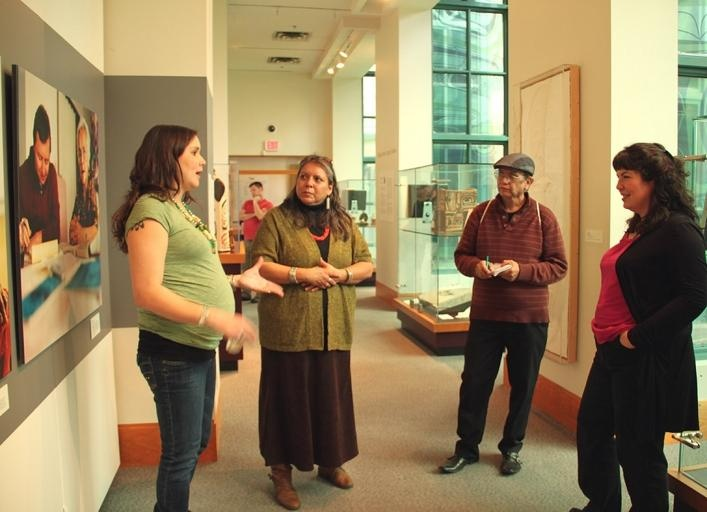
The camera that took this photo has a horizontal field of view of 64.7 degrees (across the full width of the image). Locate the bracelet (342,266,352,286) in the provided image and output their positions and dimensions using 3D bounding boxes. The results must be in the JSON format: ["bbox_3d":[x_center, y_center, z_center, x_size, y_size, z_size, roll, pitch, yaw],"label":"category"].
[{"bbox_3d":[-0.037,0.130,3.323,0.028,0.075,0.063,2,-33,-6],"label":"bracelet"}]

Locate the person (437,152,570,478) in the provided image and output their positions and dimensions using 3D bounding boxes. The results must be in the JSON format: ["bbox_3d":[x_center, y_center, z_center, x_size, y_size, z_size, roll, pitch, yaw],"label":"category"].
[{"bbox_3d":[1.004,0.380,3.671,0.750,2.074,0.457,1,8,14],"label":"person"}]

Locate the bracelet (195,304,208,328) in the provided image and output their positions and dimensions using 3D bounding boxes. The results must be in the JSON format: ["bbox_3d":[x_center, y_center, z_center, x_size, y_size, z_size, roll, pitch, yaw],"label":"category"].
[{"bbox_3d":[-0.668,0.268,2.500,0.025,0.068,0.068,11,-16,-9],"label":"bracelet"}]

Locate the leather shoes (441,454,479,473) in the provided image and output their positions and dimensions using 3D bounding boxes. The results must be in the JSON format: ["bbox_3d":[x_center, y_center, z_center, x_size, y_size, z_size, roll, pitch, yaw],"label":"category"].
[{"bbox_3d":[0.710,1.362,3.740,0.277,0.106,0.095,1,-12,-39],"label":"leather shoes"}]

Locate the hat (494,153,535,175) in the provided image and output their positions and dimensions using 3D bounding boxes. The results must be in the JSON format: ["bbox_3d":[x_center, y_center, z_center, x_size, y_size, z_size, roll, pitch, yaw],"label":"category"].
[{"bbox_3d":[1.066,-0.610,3.710,0.247,0.151,0.286,1,8,14],"label":"hat"}]

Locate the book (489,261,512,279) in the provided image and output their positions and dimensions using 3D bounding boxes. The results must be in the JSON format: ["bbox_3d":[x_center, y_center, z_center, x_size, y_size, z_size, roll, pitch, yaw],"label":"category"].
[{"bbox_3d":[0.943,0.097,3.545,0.122,0.110,0.153,2,8,15],"label":"book"}]

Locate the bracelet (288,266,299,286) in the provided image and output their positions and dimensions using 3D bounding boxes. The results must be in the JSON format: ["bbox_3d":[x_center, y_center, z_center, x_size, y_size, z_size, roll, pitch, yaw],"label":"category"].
[{"bbox_3d":[-0.347,0.113,3.285,0.049,0.085,0.084,1,4,1],"label":"bracelet"}]
